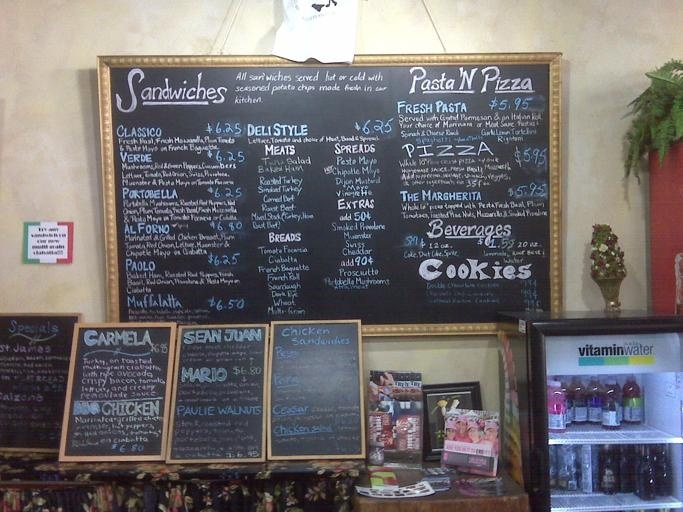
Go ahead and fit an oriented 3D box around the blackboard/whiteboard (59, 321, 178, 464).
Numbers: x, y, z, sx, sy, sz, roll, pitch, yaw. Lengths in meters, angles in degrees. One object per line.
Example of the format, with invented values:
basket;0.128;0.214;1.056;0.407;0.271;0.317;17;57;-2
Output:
blackboard/whiteboard;-1.174;0.748;3.871;0.767;0.893;0.036;0;-22;-3

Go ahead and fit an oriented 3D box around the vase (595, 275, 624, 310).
vase;1.457;0.200;3.959;0.183;0.203;0.173;-1;-3;11

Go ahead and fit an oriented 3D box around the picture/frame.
picture/frame;0.589;0.927;3.950;0.487;0.550;0.044;1;-26;2

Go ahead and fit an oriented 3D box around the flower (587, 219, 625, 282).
flower;1.434;-0.012;4.139;0.268;0.377;0.273;1;-2;10
